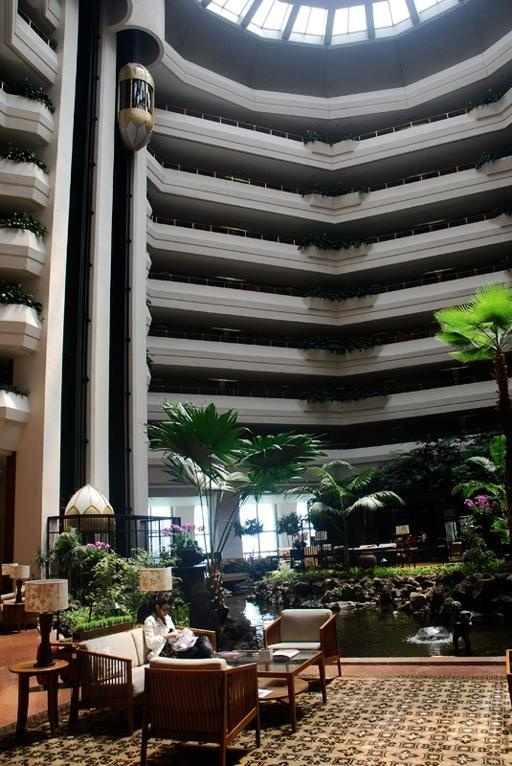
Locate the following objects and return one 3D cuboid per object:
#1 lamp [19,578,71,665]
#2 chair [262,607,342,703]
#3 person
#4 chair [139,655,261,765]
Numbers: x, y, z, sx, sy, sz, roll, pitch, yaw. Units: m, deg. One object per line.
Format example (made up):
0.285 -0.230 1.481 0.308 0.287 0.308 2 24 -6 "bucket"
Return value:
-1.548 1.743 4.294 0.296 0.578 0.333 0 -13 -22 "lamp"
0.436 2.494 5.571 0.584 0.627 0.543 -11 -24 24 "chair"
-0.611 2.080 4.887 0.698 0.554 0.321 -1 -5 22 "person"
-0.368 2.033 3.658 0.600 0.641 0.715 -8 -12 15 "chair"
